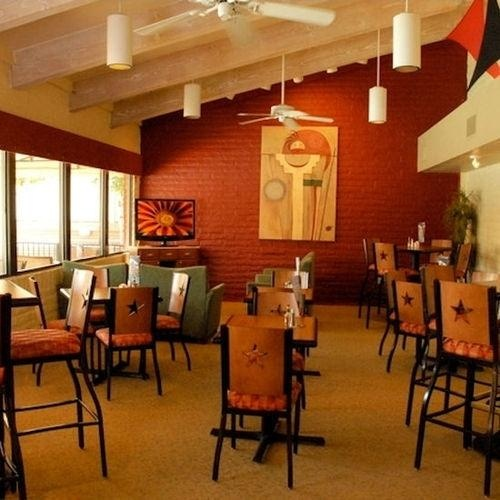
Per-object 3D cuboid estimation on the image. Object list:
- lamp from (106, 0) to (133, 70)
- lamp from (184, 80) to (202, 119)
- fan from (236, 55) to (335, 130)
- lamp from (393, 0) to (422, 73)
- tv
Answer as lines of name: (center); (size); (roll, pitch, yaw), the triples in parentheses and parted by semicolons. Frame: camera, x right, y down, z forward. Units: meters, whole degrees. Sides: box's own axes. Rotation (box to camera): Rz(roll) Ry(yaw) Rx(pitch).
lamp: (-0.972, -1.566, 3.959); (0.173, 0.408, 0.185); (0, 1, -11)
lamp: (-0.768, -2.002, 7.037); (0.212, 0.502, 0.278); (0, 1, -10)
fan: (0.366, -1.940, 6.224); (1.042, 0.876, 1.025); (1, 3, -44)
lamp: (1.178, -1.577, 4.021); (0.195, 0.426, 0.209); (1, 1, 15)
tv: (-1.453, -0.490, 8.997); (1.012, 0.699, 0.257); (0, 2, -12)
